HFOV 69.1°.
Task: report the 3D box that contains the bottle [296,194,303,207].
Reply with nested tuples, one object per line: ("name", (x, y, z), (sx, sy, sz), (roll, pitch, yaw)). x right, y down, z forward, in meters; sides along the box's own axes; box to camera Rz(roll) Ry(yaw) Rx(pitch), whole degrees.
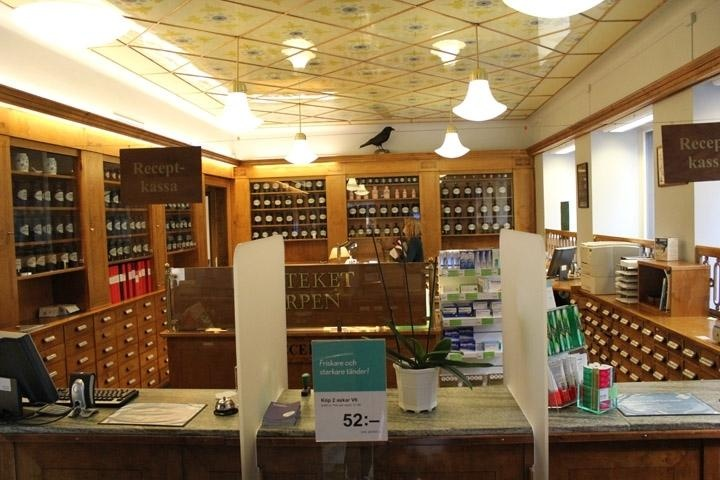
("bottle", (-1.074, -0.689, 9.399), (0.158, 0.202, 0.022), (-2, 0, 19))

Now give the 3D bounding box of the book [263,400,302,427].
("book", (-0.522, 1.165, 3.524), (0.251, 0.157, 0.217), (-2, 0, -1))

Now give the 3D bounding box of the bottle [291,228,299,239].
("bottle", (-1.136, -0.119, 9.275), (0.115, 0.188, 0.106), (-3, 0, 0))

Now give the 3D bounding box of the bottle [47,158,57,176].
("bottle", (-3.434, -0.819, 5.857), (0.017, 0.194, 0.140), (-3, 0, 13))

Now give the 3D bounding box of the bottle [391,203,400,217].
("bottle", (0.613, -0.509, 9.162), (0.179, 0.214, 0.056), (1, -1, 6))

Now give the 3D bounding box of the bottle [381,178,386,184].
("bottle", (0.438, -1.073, 9.544), (0.113, 0.094, 0.025), (-1, -7, 12))

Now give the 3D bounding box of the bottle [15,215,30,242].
("bottle", (-3.533, -0.121, 5.489), (0.022, 0.285, 0.169), (-3, 0, 14))

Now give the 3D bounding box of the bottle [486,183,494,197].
("bottle", (2.211, -0.844, 8.892), (0.182, 0.213, 0.093), (-2, 0, -43))

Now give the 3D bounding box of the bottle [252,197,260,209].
("bottle", (-1.920, -0.688, 9.745), (0.196, 0.166, 0.043), (-1, -5, 19))

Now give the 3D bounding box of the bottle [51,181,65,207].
("bottle", (-3.411, -0.523, 5.943), (0.033, 0.311, 0.167), (-3, 0, 14))

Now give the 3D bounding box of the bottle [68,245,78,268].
("bottle", (-3.323, 0.186, 6.106), (0.026, 0.274, 0.150), (-3, 0, 23))

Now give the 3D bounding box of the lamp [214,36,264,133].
("lamp", (-1.293, -1.661, 5.649), (0.379, 0.998, 1.470), (-3, 0, -10))

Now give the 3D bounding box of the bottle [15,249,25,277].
("bottle", (-3.552, 0.255, 5.473), (0.024, 0.268, 0.091), (-3, 0, -2))

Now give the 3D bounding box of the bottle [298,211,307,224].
("bottle", (-1.034, -0.409, 9.418), (0.161, 0.241, 0.035), (-3, 0, 9))

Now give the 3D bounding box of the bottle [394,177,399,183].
("bottle", (0.663, -1.067, 9.483), (0.124, 0.069, 0.107), (0, 0, 6))

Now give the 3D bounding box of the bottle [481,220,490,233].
("bottle", (2.076, -0.210, 8.773), (0.153, 0.222, 0.141), (1, 1, 0))

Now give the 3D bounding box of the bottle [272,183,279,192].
("bottle", (-1.535, -0.963, 9.613), (0.146, 0.175, 0.141), (0, -1, 2))

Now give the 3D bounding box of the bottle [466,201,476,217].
("bottle", (1.852, -0.503, 8.778), (0.168, 0.232, 0.073), (-3, 0, 42))

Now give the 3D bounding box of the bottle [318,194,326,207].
("bottle", (-0.649, -0.705, 9.535), (0.187, 0.162, 0.306), (1, 33, 0))

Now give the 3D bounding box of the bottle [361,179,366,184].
("bottle", (0.063, -1.081, 9.656), (0.103, 0.084, 0.048), (1, 1, 1))

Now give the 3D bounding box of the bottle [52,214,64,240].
("bottle", (-3.410, -0.151, 5.924), (0.036, 0.289, 0.162), (-3, 0, 10))

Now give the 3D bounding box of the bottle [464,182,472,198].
("bottle", (1.817, -0.838, 8.844), (0.145, 0.258, 0.053), (-3, 0, 9))

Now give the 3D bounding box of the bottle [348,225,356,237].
("bottle", (-0.143, -0.153, 9.421), (0.207, 0.227, 0.051), (-3, 0, 41))

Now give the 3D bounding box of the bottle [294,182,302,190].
("bottle", (-1.109, -0.967, 9.398), (0.033, 0.131, 0.205), (-3, 0, -43))

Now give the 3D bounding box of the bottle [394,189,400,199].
("bottle", (0.660, -0.821, 9.319), (0.095, 0.177, 0.118), (-3, 0, 2))

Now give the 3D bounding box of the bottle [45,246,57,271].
("bottle", (-3.442, 0.206, 5.852), (0.029, 0.288, 0.158), (-3, 0, 9))

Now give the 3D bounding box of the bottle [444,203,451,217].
("bottle", (1.492, -0.492, 8.986), (0.139, 0.208, 0.015), (-3, 0, 35))

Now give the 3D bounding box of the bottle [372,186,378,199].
("bottle", (0.267, -0.842, 9.343), (0.129, 0.214, 0.091), (-3, 0, -17))

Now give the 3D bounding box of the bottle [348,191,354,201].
("bottle", (-0.149, -0.777, 9.406), (0.175, 0.152, 0.044), (-2, 0, 38))

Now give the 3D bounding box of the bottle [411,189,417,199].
("bottle", (0.968, -0.825, 9.355), (0.103, 0.176, 0.079), (-3, 0, 6))

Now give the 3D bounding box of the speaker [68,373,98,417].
("speaker", (-2.019, 1.117, 3.813), (0.171, 0.316, 0.230), (-3, 0, -28))

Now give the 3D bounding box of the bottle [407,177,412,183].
("bottle", (0.881, -1.074, 9.417), (0.142, 0.114, 0.038), (-2, 0, 3))

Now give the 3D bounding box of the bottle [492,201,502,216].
("bottle", (2.289, -0.509, 8.753), (0.099, 0.205, 0.226), (-3, 0, 38))

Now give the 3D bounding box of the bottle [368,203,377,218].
("bottle", (0.220, -0.520, 9.226), (0.184, 0.255, 0.180), (1, 2, 0))

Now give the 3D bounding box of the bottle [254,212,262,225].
("bottle", (-1.884, -0.379, 9.701), (0.178, 0.168, 0.164), (0, -1, -14))
